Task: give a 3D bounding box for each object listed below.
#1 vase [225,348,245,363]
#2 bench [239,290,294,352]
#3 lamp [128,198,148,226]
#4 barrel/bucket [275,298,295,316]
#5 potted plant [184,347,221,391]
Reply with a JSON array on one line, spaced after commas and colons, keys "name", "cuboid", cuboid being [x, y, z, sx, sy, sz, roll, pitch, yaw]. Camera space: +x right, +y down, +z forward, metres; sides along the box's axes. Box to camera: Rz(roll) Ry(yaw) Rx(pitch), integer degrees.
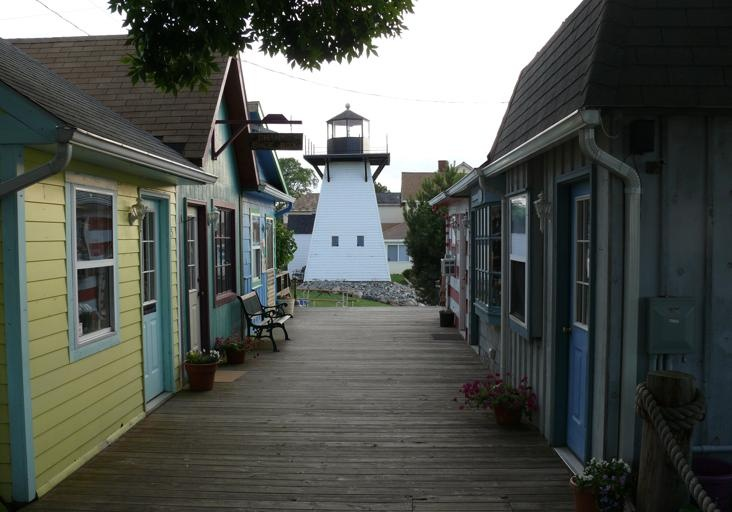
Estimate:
[{"name": "vase", "cuboid": [-2.091, 1.605, 9.997, 0.230, 0.190, 0.240, -3, -5, 27]}, {"name": "bench", "cuboid": [-1.917, 1.560, 11.918, 0.732, 0.999, 1.632, -3, 2, 1]}, {"name": "lamp", "cuboid": [-2.710, -0.537, 7.477, 0.249, 0.404, 0.198, -4, 7, -3]}, {"name": "barrel/bucket", "cuboid": [-1.884, 1.141, 14.476, 0.458, 0.398, 0.490, -2, -4, 0]}, {"name": "potted plant", "cuboid": [-2.248, 1.566, 8.707, 0.510, 0.635, 0.469, 0, -8, -2]}]
